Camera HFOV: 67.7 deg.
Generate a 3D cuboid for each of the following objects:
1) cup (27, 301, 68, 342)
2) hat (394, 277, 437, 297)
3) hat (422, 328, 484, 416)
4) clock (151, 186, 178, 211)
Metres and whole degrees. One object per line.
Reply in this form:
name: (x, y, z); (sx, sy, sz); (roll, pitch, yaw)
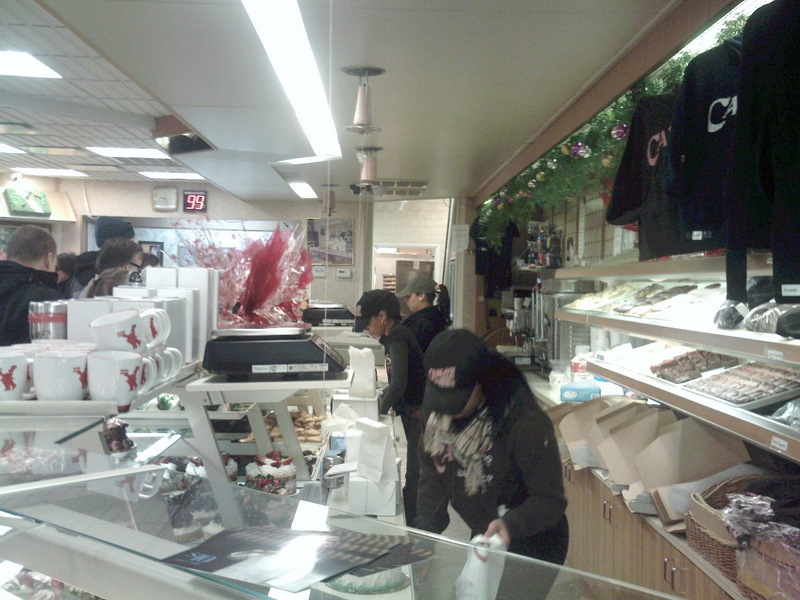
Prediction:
cup: (-0.942, 0.056, 1.596); (0.114, 0.115, 0.089); (0, 2, -5)
hat: (0.038, -0.041, 1.716); (0.082, 0.043, 0.054); (3, 2, 4)
hat: (0.133, 0.172, 1.422); (0.153, 0.205, 0.054); (-1, 3, 2)
clock: (-2.945, -1.281, 7.504); (0.296, 0.292, 0.083); (-1, 11, 10)
